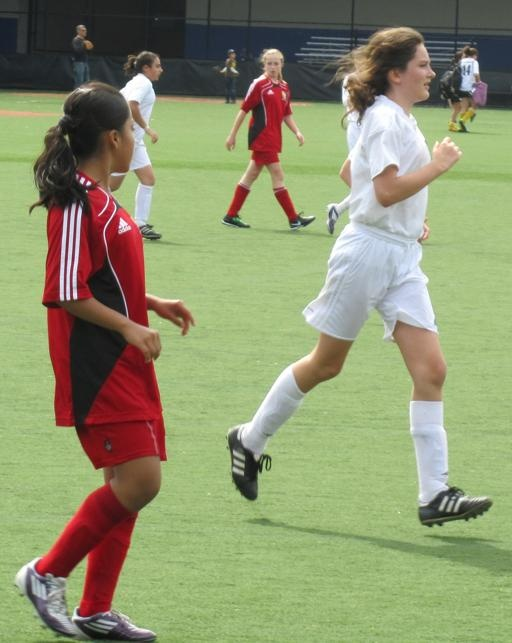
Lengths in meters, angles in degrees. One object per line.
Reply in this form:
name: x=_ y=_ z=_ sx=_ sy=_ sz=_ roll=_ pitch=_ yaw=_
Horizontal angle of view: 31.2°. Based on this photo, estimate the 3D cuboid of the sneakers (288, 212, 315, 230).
sneakers: x=0.458 y=-1.114 z=10.261 sx=0.378 sy=0.171 sz=0.118 roll=-9 pitch=30 yaw=12

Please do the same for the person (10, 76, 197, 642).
person: x=-0.415 y=0.112 z=2.420 sx=0.375 sy=1.442 sz=0.454 roll=3 pitch=15 yaw=-6

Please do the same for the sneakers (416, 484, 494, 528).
sneakers: x=0.686 y=0.660 z=3.303 sx=0.319 sy=0.139 sz=0.105 roll=-16 pitch=-3 yaw=16

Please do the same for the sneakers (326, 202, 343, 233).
sneakers: x=0.792 y=-1.033 z=9.504 sx=0.173 sy=0.362 sz=0.124 roll=13 pitch=34 yaw=9

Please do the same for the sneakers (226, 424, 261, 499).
sneakers: x=-0.051 y=0.549 z=3.581 sx=0.132 sy=0.273 sz=0.098 roll=-29 pitch=-24 yaw=21

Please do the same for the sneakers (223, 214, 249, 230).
sneakers: x=-0.173 y=-1.132 z=10.340 sx=0.365 sy=0.141 sz=0.118 roll=9 pitch=32 yaw=-19

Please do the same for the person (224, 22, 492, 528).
person: x=0.464 y=-0.166 z=3.446 sx=1.025 sy=1.839 sz=0.592 roll=10 pitch=15 yaw=22
